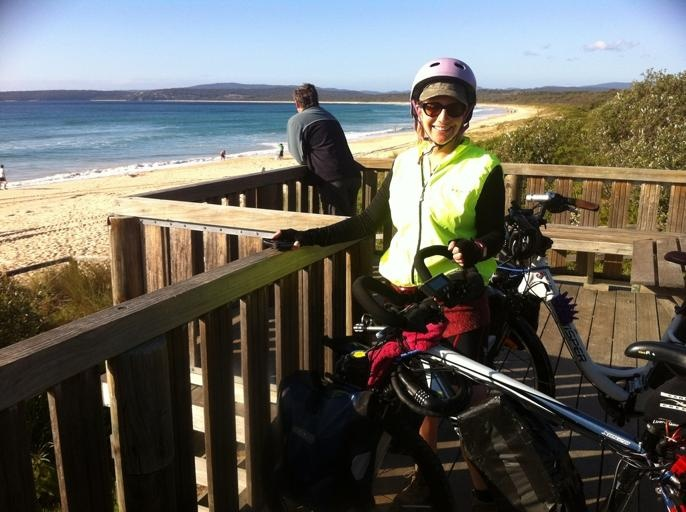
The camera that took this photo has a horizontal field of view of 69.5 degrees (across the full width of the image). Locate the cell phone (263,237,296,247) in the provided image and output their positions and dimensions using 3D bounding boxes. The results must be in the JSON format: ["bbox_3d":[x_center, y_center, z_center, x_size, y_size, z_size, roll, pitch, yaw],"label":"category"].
[{"bbox_3d":[-0.309,-0.062,2.418,0.084,0.031,0.112,0,4,-22],"label":"cell phone"}]

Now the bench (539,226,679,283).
[{"bbox_3d":[2.872,-0.041,5.370,0.946,0.416,0.231,6,-21,9],"label":"bench"}]

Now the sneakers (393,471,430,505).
[{"bbox_3d":[0.305,1.047,2.234,0.087,0.185,0.262,9,-19,-21],"label":"sneakers"}]

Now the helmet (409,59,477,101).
[{"bbox_3d":[0.471,-0.828,2.295,0.317,0.177,0.289,0,14,10],"label":"helmet"}]
